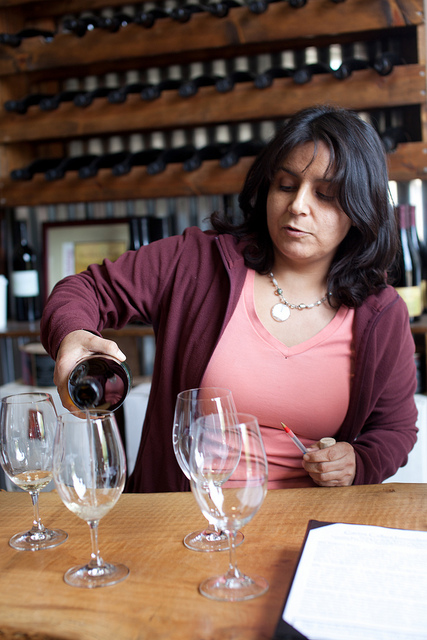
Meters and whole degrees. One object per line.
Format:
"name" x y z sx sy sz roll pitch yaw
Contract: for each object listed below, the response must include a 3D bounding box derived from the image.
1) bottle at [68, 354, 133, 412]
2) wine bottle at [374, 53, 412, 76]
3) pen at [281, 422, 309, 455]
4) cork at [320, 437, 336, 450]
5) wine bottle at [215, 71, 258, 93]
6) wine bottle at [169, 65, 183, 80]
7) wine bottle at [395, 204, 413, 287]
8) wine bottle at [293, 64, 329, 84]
"bottle" -0.172 0.107 0.916 0.098 0.083 0.086 2 18 -1
"wine bottle" 0.591 -0.841 1.880 0.040 0.034 0.151 12 35 35
"pen" 0.169 0.250 1.208 0.019 0.016 0.148 21 -24 50
"cork" 0.215 0.230 1.073 0.021 0.019 0.020 4 11 32
"wine bottle" 0.075 -0.831 1.988 0.150 0.066 0.119 -3 1 -11
"wine bottle" -0.143 -0.948 2.191 0.031 0.047 0.056 -4 1 -29
"wine bottle" 0.685 -0.263 2.068 0.042 0.196 0.122 -3 1 30
"wine bottle" 0.327 -0.824 1.926 0.056 0.051 0.153 -2 1 41
